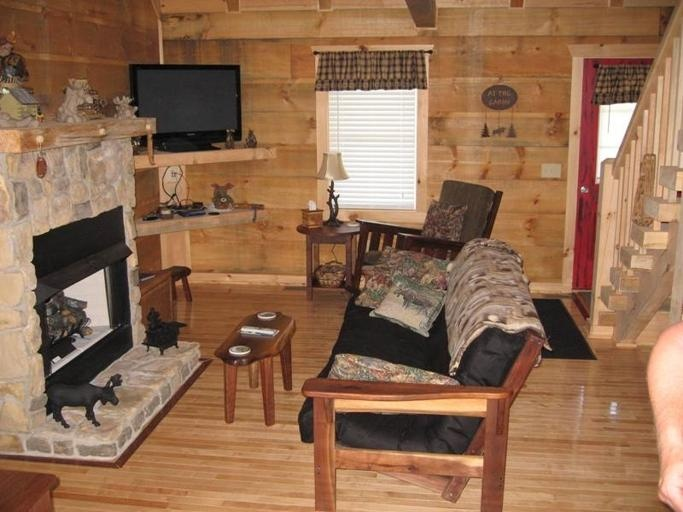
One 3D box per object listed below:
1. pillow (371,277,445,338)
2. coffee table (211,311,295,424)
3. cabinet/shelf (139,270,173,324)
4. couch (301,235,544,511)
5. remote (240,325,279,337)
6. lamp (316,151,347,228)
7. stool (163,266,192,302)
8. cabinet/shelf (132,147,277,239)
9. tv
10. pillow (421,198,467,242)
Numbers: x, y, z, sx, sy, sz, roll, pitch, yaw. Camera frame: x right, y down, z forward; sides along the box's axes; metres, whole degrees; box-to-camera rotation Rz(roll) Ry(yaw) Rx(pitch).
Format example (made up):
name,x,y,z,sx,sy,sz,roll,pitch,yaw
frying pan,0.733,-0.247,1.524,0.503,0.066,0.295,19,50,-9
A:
name,x,y,z,sx,sy,sz,roll,pitch,yaw
pillow,0.506,0.380,4.247,0.454,0.120,0.434,21,64,30
coffee table,-0.622,0.834,4.047,0.340,0.411,0.661,2,17,6
cabinet/shelf,-1.682,0.367,5.055,0.273,0.373,0.472,1,7,6
couch,0.391,0.535,3.221,1.279,0.908,1.978,1,11,13
remote,-0.587,0.528,3.953,0.176,0.026,0.102,3,10,4
lamp,-0.097,-0.750,6.202,0.315,0.785,0.549,1,16,0
stool,-1.649,0.273,6.004,0.389,0.371,0.366,-4,10,-10
cabinet/shelf,-1.656,-0.721,5.812,1.157,0.776,1.826,9,17,28
tv,-1.510,-1.466,5.623,1.307,0.815,0.287,4,12,19
pillow,1.005,-0.348,5.471,0.441,0.375,0.102,4,-17,43
